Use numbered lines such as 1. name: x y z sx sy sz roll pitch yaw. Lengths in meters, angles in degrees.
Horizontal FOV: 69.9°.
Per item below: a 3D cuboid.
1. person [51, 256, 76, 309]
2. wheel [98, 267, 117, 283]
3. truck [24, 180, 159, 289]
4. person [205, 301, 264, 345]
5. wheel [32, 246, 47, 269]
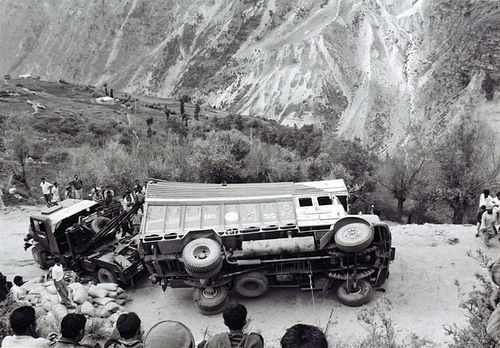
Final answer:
1. person: -8.708 5.115 16.647 0.702 2.366 0.932 3 42 -5
2. wheel: -7.186 5.130 17.914 1.229 0.884 0.242 2 2 26
3. truck: -8.624 3.408 19.315 6.329 3.787 3.608 10 13 7
4. person: -0.437 4.521 10.704 1.576 1.154 0.513 2 2 12
5. wheel: -11.584 4.611 19.650 0.412 1.259 1.141 -4 9 -40
